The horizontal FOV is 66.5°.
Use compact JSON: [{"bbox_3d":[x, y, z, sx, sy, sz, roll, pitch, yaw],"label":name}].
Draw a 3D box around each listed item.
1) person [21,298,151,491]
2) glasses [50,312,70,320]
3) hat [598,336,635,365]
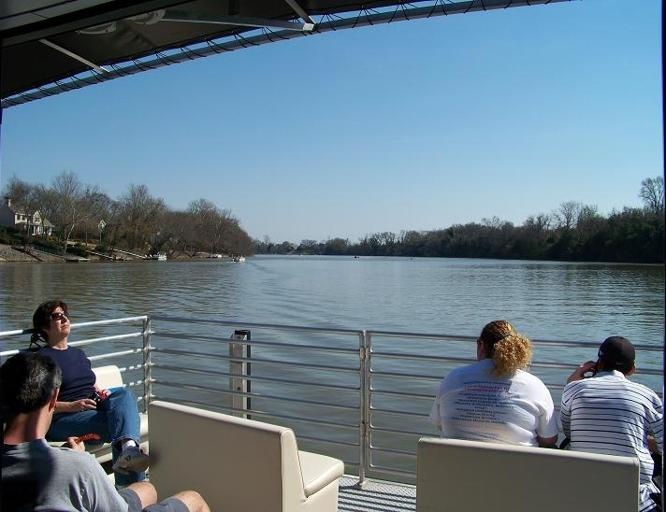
[{"bbox_3d":[-1.881,1.147,4.146,1.327,1.474,0.623,-7,0,28],"label":"person"},{"bbox_3d":[-2.321,0.511,4.286,0.133,0.040,0.129,-17,-15,40],"label":"glasses"},{"bbox_3d":[1.672,0.558,2.985,0.146,0.113,0.194,5,16,16],"label":"hat"}]
